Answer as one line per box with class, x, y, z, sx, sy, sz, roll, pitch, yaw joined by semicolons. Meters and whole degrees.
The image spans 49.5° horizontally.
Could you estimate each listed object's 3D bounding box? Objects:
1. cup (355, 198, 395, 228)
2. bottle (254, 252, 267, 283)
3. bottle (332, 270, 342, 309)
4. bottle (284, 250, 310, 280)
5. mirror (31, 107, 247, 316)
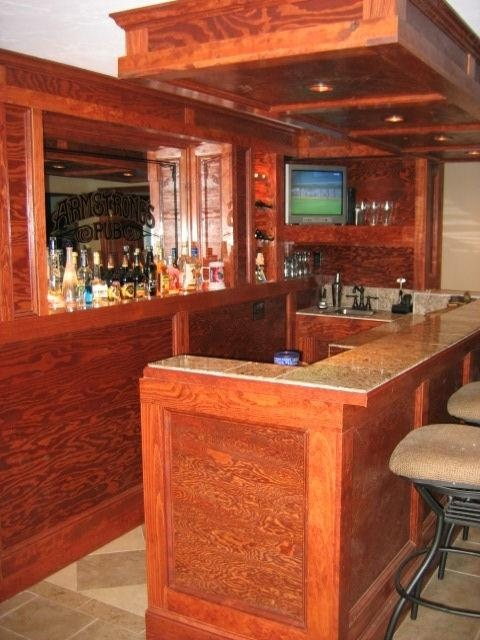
cup;1.292;-1.004;4.988;0.335;0.226;0.291;1;7;15
bottle;0.181;-0.455;4.414;0.082;0.236;0.158;-1;0;8
bottle;0.997;-0.304;5.341;0.099;0.306;0.222;-1;0;12
bottle;0.559;-0.523;5.032;0.161;0.236;0.544;-1;0;19
mirror;-0.590;-0.636;3.553;1.682;1.389;0.606;-13;39;-14
